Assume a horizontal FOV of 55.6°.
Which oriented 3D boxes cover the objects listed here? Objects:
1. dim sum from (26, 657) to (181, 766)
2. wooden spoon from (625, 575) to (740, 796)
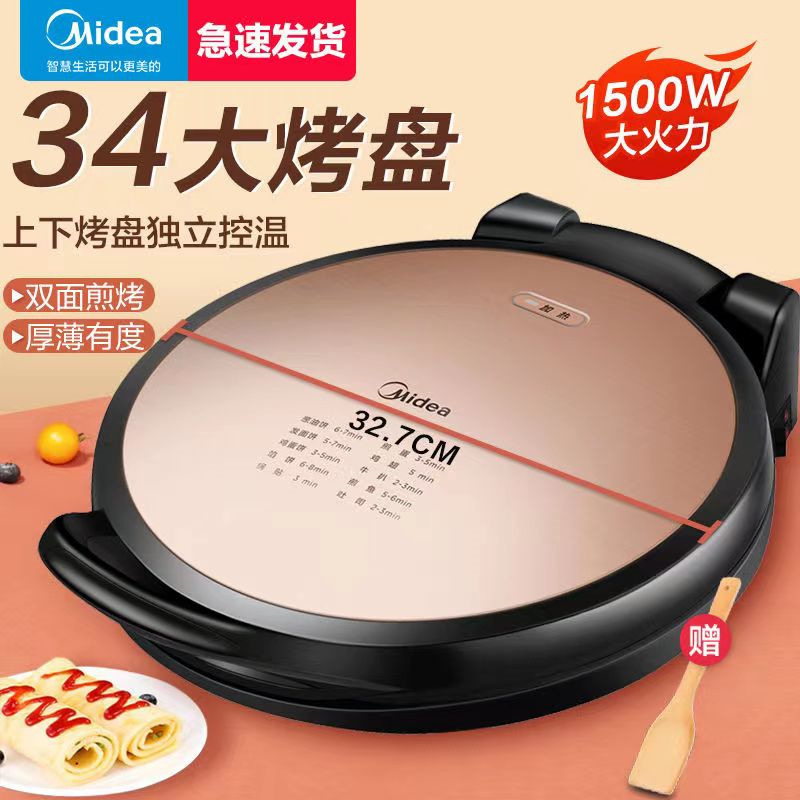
[{"bbox_3d":[-0.254,0.278,0.667,0.131,0.035,0.060,3,12,38],"label":"dim sum"},{"bbox_3d":[0.261,0.240,0.686,0.063,0.010,0.244,21,54,30],"label":"wooden spoon"}]
